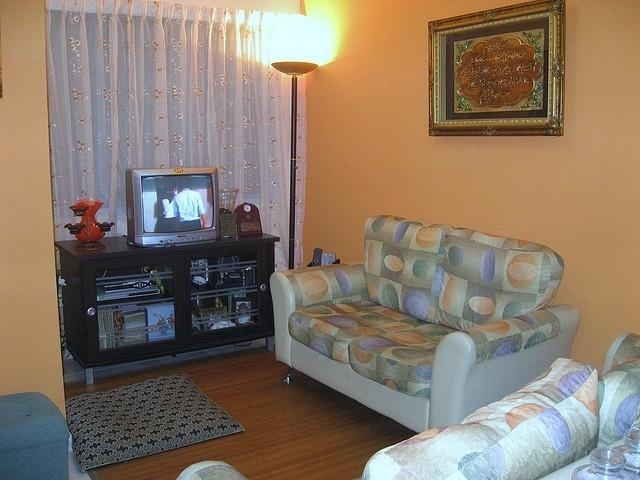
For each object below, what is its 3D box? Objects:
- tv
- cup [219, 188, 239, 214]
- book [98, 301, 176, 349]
[{"bbox_3d":[-1.189,-0.237,4.041,0.826,0.739,0.555,-4,7,-29],"label":"tv"},{"bbox_3d":[-0.762,-0.342,4.223,0.190,0.209,0.184,3,10,0],"label":"cup"},{"bbox_3d":[-1.371,0.622,3.710,0.531,0.323,0.115,-3,14,-26],"label":"book"}]
